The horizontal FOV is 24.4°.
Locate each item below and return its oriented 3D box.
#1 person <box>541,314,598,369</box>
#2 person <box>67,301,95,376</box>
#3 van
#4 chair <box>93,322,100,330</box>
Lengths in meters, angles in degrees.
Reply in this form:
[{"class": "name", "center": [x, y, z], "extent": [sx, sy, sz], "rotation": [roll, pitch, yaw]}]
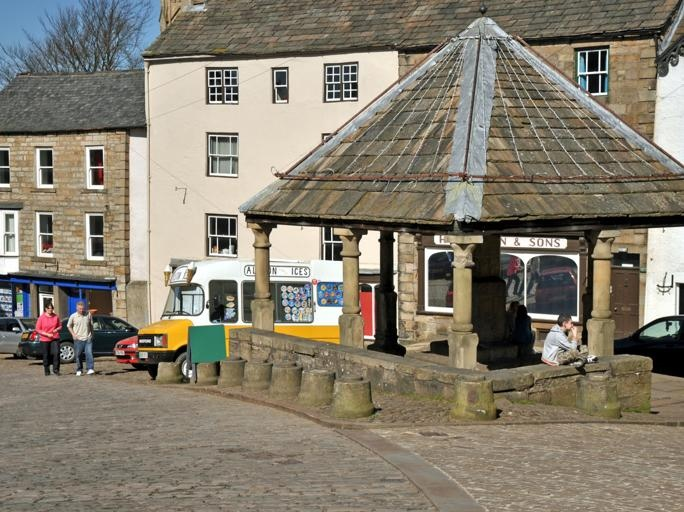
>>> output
[{"class": "person", "center": [5.346, 2.027, 37.121], "extent": [1.174, 1.111, 0.704], "rotation": [1, 13, 9]}, {"class": "person", "center": [-7.345, 2.311, 44.623], "extent": [0.800, 2.448, 0.719], "rotation": [1, 3, -33]}, {"class": "van", "center": [-3.105, 2.961, 46.912], "extent": [7.660, 4.005, 3.052], "rotation": [0, -3, -17]}, {"class": "chair", "center": [-7.984, 2.326, 51.383], "extent": [0.235, 0.227, 0.141], "rotation": [5, -16, -36]}]
